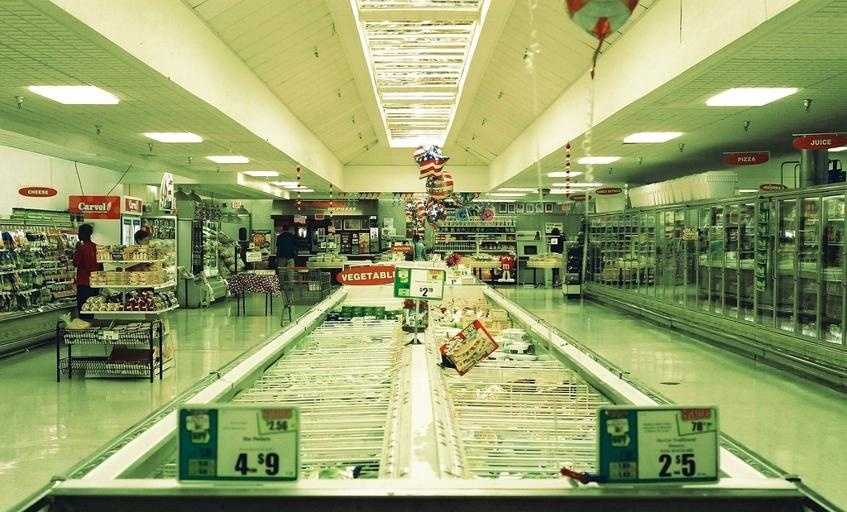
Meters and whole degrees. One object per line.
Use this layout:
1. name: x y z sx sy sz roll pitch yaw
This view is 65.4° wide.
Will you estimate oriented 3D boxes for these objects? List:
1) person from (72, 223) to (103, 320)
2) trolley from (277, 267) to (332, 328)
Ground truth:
1. person: -6.079 0.259 11.934 0.447 1.671 1.297 -1 1 -27
2. trolley: -2.672 0.880 14.538 1.215 1.702 1.187 3 -9 -22
